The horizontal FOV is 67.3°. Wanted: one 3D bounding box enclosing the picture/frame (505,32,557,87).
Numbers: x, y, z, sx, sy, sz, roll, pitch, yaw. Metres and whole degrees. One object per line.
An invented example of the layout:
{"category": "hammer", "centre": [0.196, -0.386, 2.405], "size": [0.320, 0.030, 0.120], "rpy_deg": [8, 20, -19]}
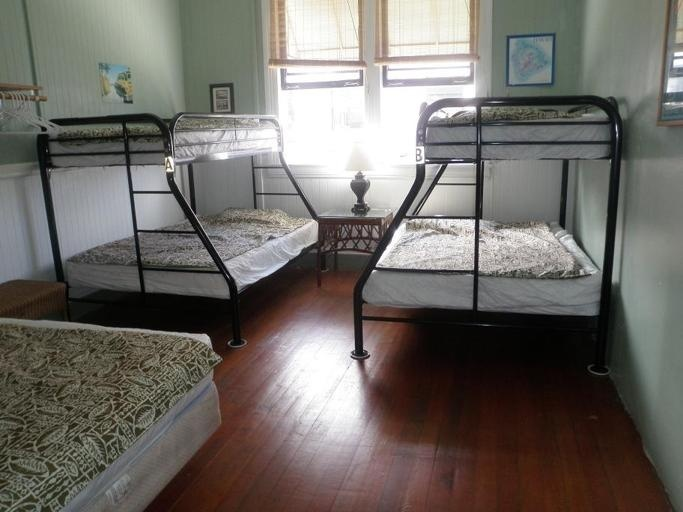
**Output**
{"category": "picture/frame", "centre": [1.910, -1.983, 5.101], "size": [0.574, 0.547, 0.040], "rpy_deg": [1, 7, 9]}

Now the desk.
{"category": "desk", "centre": [0.149, -0.095, 5.593], "size": [0.755, 0.709, 0.823], "rpy_deg": [2, 3, 19]}
